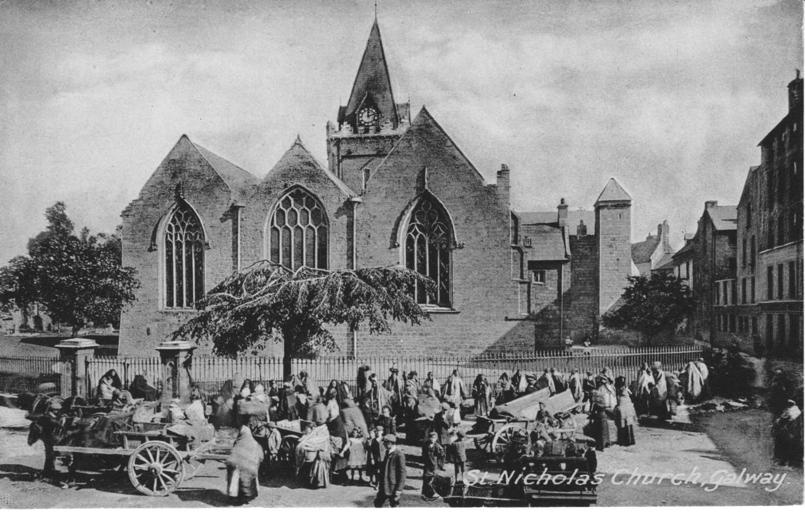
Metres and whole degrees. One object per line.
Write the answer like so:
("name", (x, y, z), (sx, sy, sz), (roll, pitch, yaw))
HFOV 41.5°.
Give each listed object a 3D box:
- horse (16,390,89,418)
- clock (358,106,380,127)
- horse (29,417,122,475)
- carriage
("horse", (-14.116, 6.026, 43.101), (3.521, 0.919, 0.867), (0, -13, 11))
("clock", (-2.146, -9.067, 67.954), (1.646, 1.225, 0.143), (2, 32, 6))
("horse", (-12.539, 7.401, 41.030), (3.754, 2.397, 1.407), (-2, -9, 19))
("carriage", (-10.585, 7.470, 41.906), (10.307, 3.236, 3.384), (2, -8, 9))
